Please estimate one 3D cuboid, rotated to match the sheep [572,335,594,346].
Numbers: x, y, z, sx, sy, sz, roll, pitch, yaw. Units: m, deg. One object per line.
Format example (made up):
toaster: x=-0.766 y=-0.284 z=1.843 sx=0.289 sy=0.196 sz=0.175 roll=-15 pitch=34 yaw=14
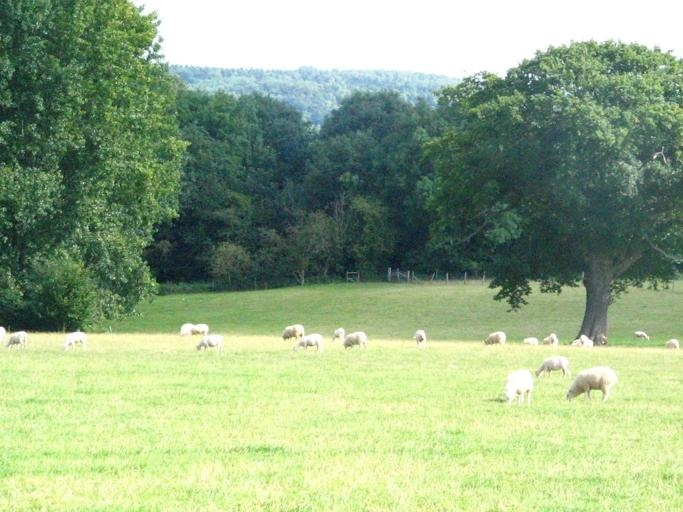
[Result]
sheep: x=15.936 y=5.587 z=92.902 sx=1.353 sy=0.592 sz=2.096 roll=3 pitch=1 yaw=8
